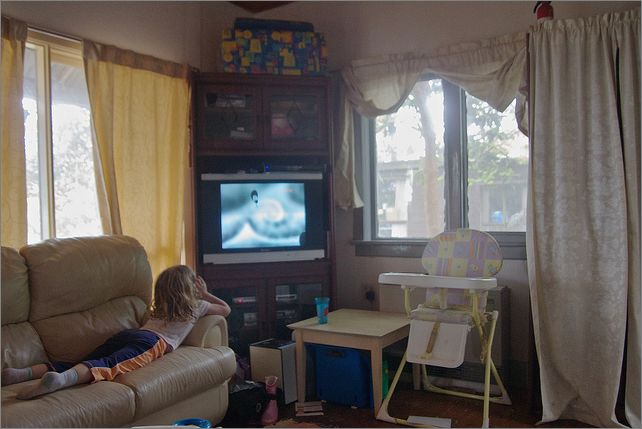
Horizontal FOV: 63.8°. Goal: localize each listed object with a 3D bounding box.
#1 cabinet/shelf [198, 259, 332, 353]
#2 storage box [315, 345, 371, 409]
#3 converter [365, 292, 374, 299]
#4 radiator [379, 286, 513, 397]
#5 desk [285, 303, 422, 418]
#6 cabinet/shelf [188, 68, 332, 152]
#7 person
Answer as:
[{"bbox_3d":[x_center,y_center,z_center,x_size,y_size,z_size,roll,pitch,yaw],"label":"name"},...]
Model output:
[{"bbox_3d":[-0.510,0.759,4.291,0.762,0.725,0.296,-1,0,-13],"label":"cabinet/shelf"},{"bbox_3d":[0.179,1.231,3.902,0.463,0.459,0.252,-3,-4,27],"label":"storage box"},{"bbox_3d":[0.453,0.741,4.768,0.066,0.062,0.031,2,5,25],"label":"converter"},{"bbox_3d":[0.976,0.965,3.862,0.879,0.757,0.313,1,4,19],"label":"radiator"},{"bbox_3d":[0.281,1.011,4.072,0.754,0.586,0.742,1,4,28],"label":"desk"},{"bbox_3d":[-0.533,-0.837,4.625,1.176,0.715,0.390,-1,0,-8],"label":"cabinet/shelf"},{"bbox_3d":[-1.331,0.730,3.565,0.493,0.614,1.415,2,4,34],"label":"person"}]
